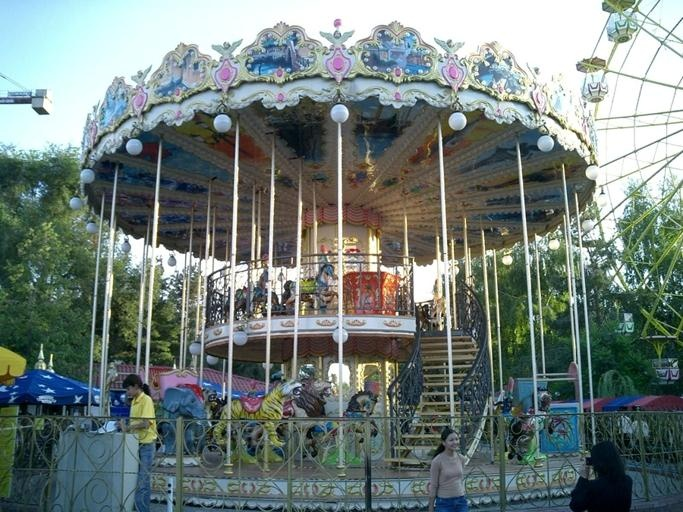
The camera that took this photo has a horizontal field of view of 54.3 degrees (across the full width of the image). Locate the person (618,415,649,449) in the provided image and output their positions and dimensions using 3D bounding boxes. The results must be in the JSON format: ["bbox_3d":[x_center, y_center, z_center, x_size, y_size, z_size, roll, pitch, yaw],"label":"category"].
[{"bbox_3d":[5.441,3.260,12.399,0.535,0.560,1.050,-7,-16,21],"label":"person"}]
